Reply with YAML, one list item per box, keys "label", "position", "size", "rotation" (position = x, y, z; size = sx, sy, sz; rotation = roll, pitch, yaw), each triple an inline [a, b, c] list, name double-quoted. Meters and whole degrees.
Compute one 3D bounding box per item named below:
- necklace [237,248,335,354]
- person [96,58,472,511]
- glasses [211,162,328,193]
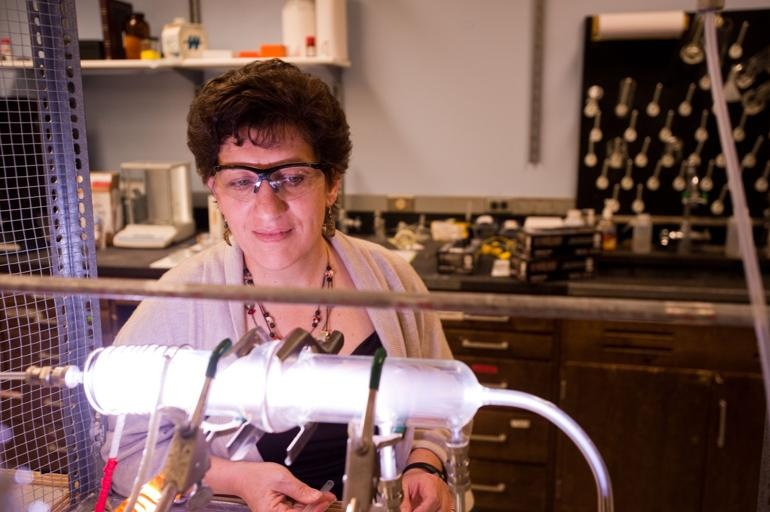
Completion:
- label: "necklace"
  position: [-0.277, 0.125, 1.752]
  size: [0.280, 0.329, 0.044]
  rotation: [-1, -26, -9]
- label: "person"
  position: [-0.257, 0.076, 1.874]
  size: [1.036, 1.288, 0.781]
  rotation: [-3, 8, -24]
- label: "glasses"
  position: [-0.336, -0.228, 1.907]
  size: [0.295, 0.089, 0.092]
  rotation: [-2, 8, -17]
